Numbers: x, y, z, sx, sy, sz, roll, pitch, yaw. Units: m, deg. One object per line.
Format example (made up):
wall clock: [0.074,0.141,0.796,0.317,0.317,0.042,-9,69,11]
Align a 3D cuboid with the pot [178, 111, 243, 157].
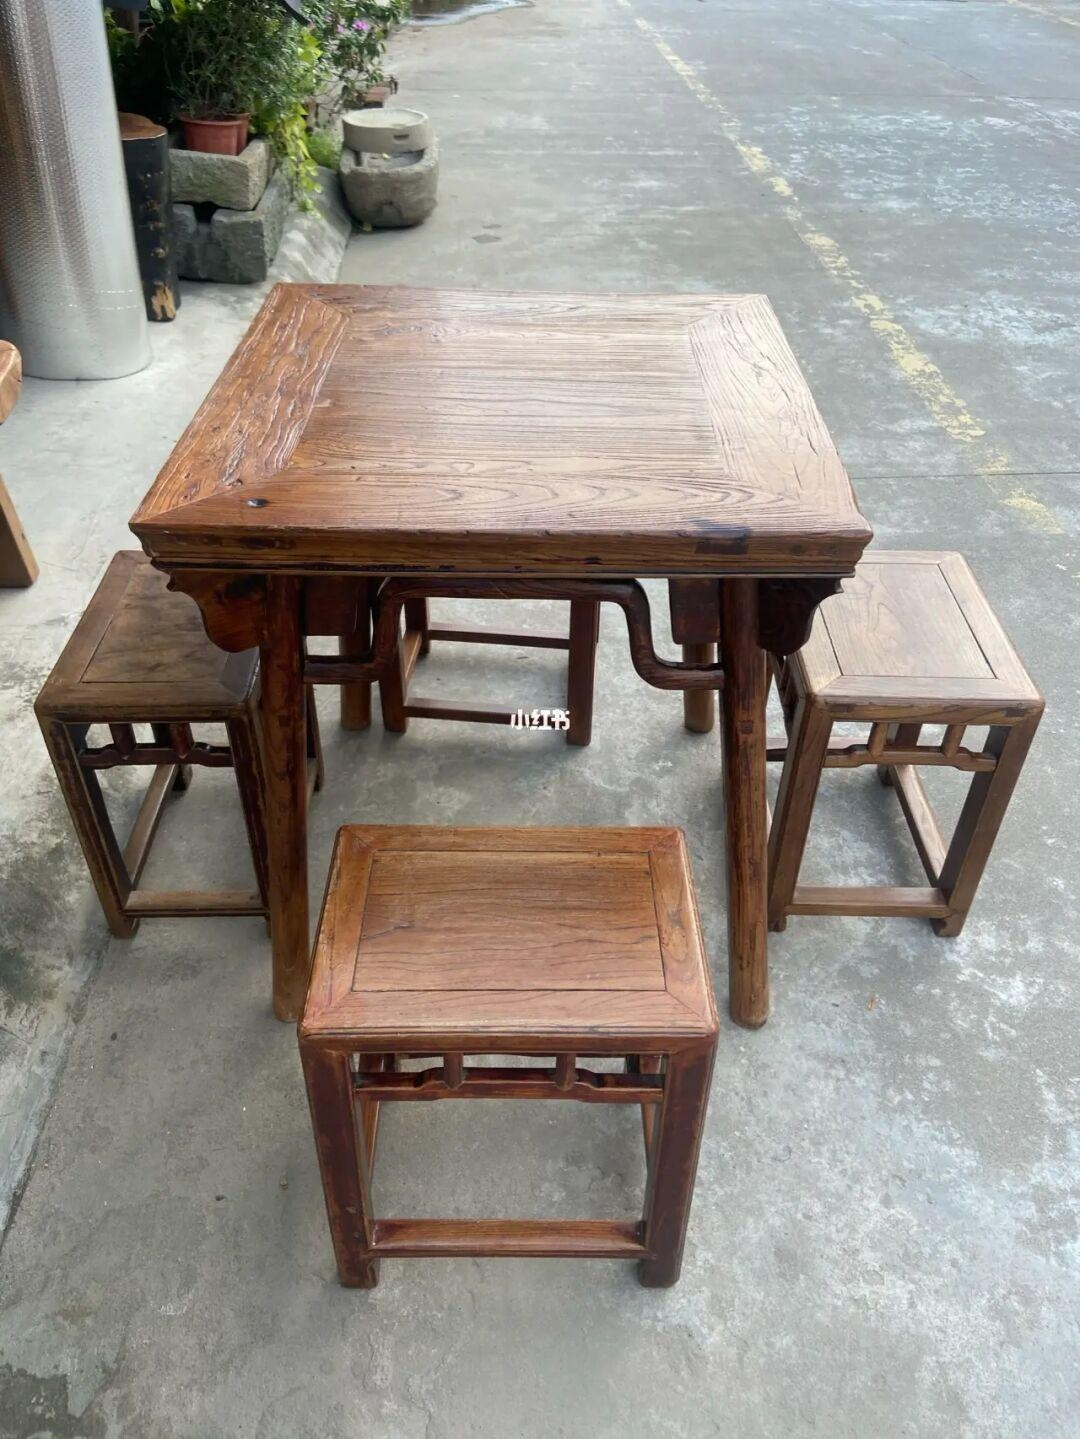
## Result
pot: [-1.423,-2.567,4.709,0.280,0.140,0.395,-9,37,-13]

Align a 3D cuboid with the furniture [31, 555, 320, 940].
furniture: [-0.694,0.084,2.059,0.499,0.724,0.477,1,56,-5]

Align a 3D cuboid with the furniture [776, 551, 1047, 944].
furniture: [0.744,0.090,2.195,0.528,0.738,0.508,-3,51,1]

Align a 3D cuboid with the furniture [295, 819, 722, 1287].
furniture: [-0.046,0.513,1.649,0.524,0.602,0.446,0,36,-1]

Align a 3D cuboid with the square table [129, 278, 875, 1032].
square table: [-0.077,-0.147,2.498,1.440,1.347,1.388,3,39,1]

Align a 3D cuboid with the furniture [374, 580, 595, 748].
furniture: [-0.112,-0.206,2.637,0.469,0.440,0.452,5,41,-3]
